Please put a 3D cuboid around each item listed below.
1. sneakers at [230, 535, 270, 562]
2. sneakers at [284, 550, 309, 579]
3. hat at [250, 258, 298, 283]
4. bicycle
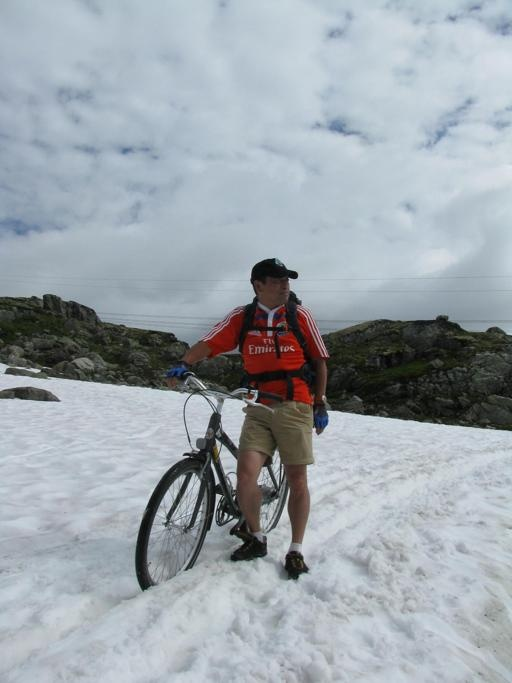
[{"bbox_3d":[-0.042,1.770,4.302,0.144,0.144,0.358,-16,-24,39],"label":"sneakers"},{"bbox_3d":[0.341,1.847,4.185,0.206,0.143,0.196,4,-1,4],"label":"sneakers"},{"bbox_3d":[0.172,-0.643,4.490,0.381,0.151,0.388,4,-1,-3],"label":"hat"},{"bbox_3d":[-0.333,1.087,4.448,0.828,1.393,1.900,4,-1,13],"label":"bicycle"}]
